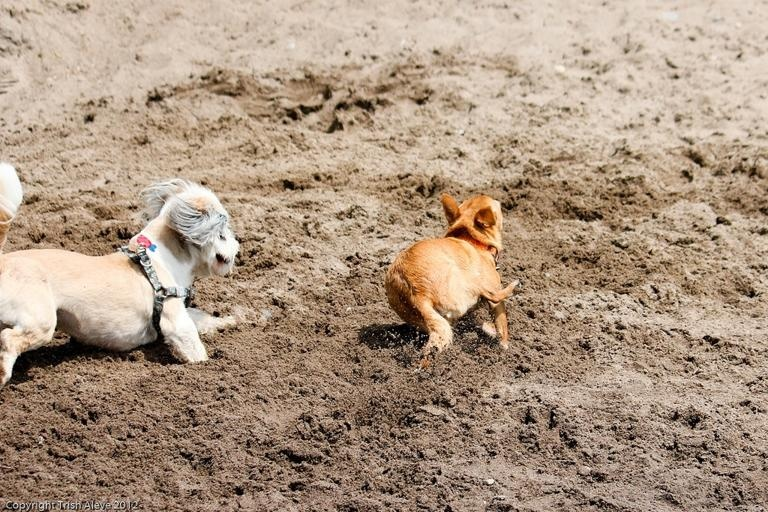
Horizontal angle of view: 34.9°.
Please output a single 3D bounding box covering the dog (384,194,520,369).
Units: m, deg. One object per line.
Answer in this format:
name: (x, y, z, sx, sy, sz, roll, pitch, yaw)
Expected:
dog: (0.980, 0.185, 14.960, 1.074, 1.331, 2.460, -3, 35, 37)
